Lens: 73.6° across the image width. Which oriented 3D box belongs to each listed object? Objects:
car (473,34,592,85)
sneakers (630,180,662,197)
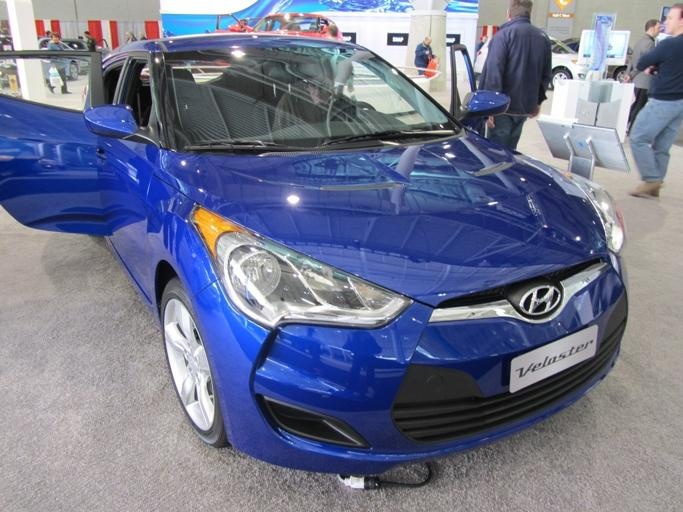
[{"bbox_3d":[5.110,-5.191,12.469,2.873,1.309,1.496,10,13,20],"label":"car"},{"bbox_3d":[3.129,-0.684,4.660,0.243,0.201,0.082,9,61,14],"label":"sneakers"}]
